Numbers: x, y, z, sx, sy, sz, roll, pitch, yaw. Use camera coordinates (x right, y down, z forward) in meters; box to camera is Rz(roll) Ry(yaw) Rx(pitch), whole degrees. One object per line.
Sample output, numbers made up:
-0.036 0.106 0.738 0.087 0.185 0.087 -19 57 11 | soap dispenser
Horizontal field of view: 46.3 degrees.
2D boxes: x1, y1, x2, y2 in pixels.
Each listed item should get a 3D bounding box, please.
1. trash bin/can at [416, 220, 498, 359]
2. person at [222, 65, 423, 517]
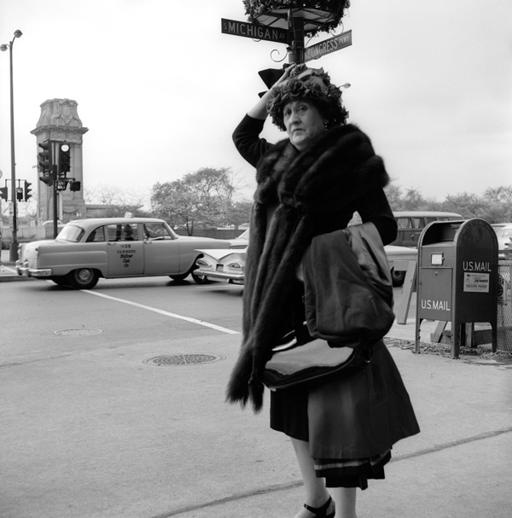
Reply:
2.151 0.315 6.515 0.871 1.478 0.577 0 2 24 | trash bin/can
0.219 0.121 2.399 0.805 1.912 0.453 1 2 45 | person
